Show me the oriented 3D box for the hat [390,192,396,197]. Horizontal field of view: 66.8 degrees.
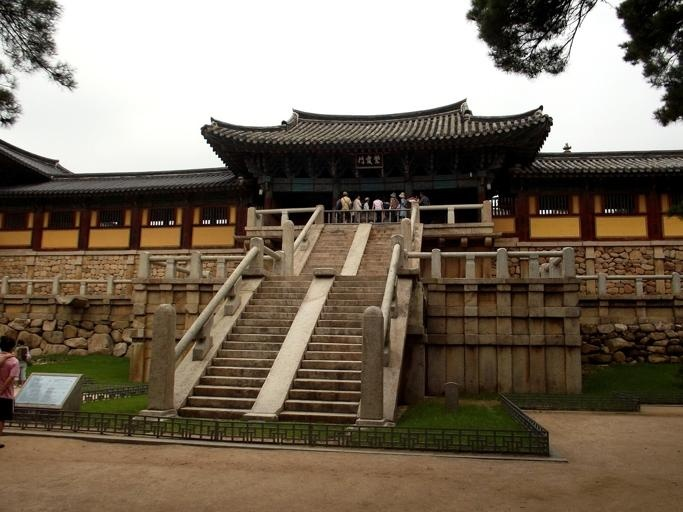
[{"bbox_3d":[2.139,-2.531,21.288,0.338,0.141,0.250,2,-2,9],"label":"hat"}]
